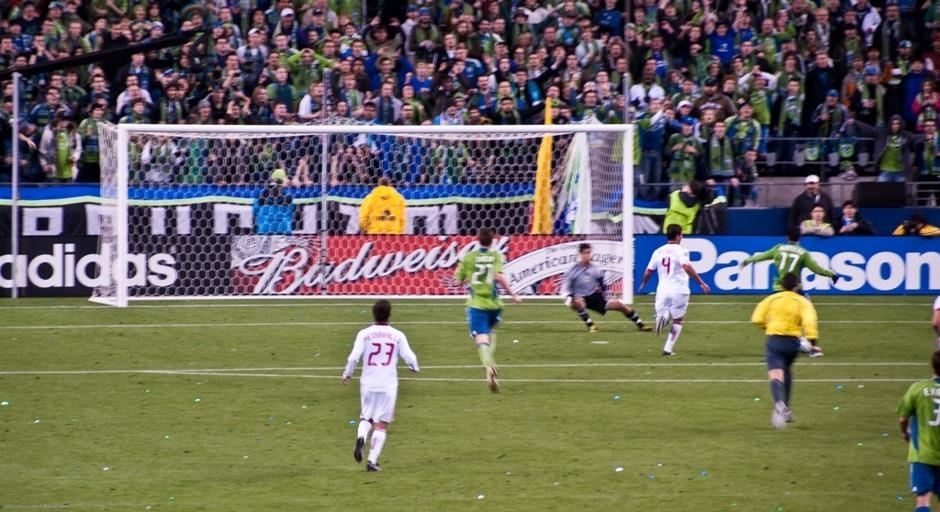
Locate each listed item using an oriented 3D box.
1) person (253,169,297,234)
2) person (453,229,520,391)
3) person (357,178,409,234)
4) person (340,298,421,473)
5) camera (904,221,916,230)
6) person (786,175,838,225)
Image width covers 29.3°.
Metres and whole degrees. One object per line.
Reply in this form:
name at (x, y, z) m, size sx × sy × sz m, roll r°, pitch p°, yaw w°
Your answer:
person at (-5.114, -1.314, 46.562) m, size 0.918 × 1.445 × 0.906 m, roll 2°, pitch -1°, yaw -39°
person at (0.288, 1.177, 38.933) m, size 1.051 × 3.526 × 1.451 m, roll -1°, pitch 2°, yaw -8°
person at (-2.281, -1.312, 46.723) m, size 1.213 × 1.496 × 0.510 m, roll -1°, pitch 2°, yaw -4°
person at (-1.864, 2.621, 36.197) m, size 1.354 × 3.421 × 1.372 m, roll -1°, pitch 2°, yaw -1°
camera at (11.431, -0.799, 47.111) m, size 0.429 × 0.176 × 0.199 m, roll 4°, pitch 9°, yaw 11°
person at (8.682, -1.438, 46.231) m, size 1.078 × 1.241 × 0.885 m, roll 0°, pitch 2°, yaw 8°
